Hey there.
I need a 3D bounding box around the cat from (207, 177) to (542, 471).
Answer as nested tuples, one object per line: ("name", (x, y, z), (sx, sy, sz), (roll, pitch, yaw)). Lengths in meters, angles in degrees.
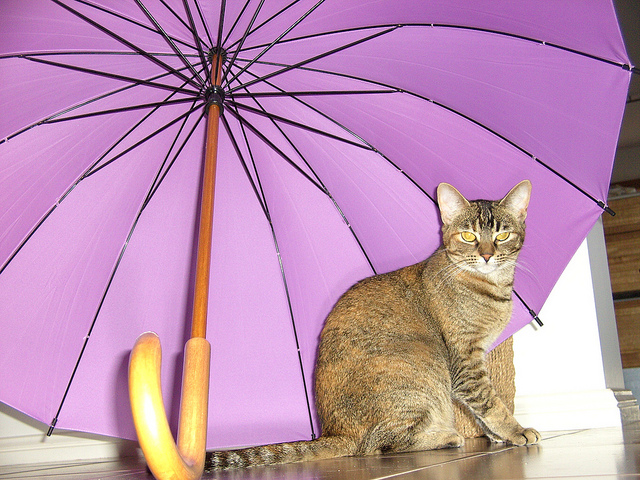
("cat", (0.218, 0.513, 2.542), (1.811, 1.133, 0.513), (-14, -6, -12))
